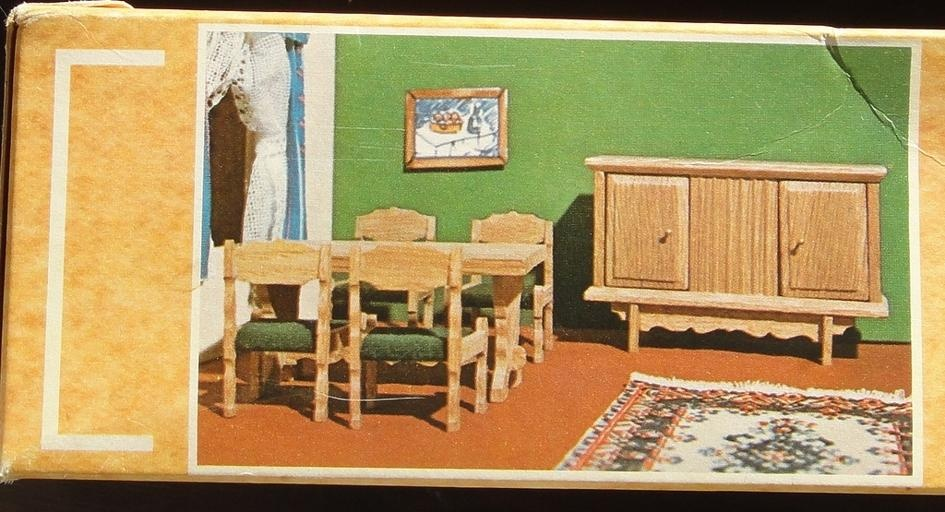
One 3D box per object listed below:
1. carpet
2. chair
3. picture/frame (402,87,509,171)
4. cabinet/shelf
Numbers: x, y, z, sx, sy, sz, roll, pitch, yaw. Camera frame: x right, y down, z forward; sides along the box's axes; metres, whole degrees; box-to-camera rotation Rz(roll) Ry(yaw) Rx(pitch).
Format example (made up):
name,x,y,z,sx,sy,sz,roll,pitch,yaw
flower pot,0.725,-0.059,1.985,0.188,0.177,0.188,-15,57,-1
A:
name,x,y,z,sx,sy,sz,roll,pitch,yaw
carpet,1.739,1.108,6.440,1.909,0.547,0.032,-1,-10,2
chair,-0.508,0.387,5.816,1.726,0.744,1.773,1,5,5
picture/frame,-0.111,-0.795,5.868,0.763,0.402,0.049,0,1,-3
cabinet/shelf,1.689,0.030,5.980,1.921,0.885,0.562,1,-1,5
